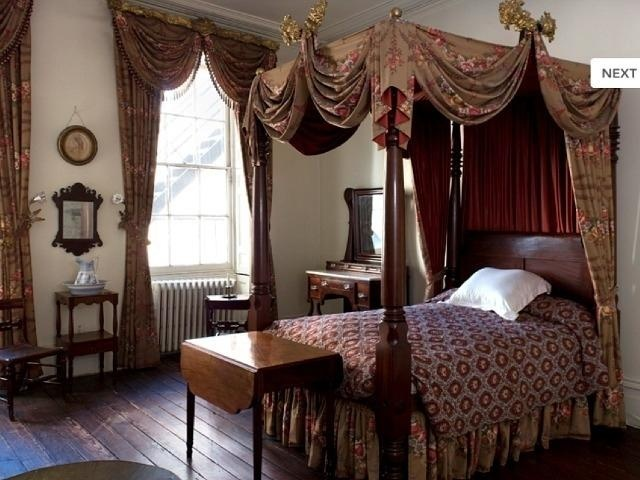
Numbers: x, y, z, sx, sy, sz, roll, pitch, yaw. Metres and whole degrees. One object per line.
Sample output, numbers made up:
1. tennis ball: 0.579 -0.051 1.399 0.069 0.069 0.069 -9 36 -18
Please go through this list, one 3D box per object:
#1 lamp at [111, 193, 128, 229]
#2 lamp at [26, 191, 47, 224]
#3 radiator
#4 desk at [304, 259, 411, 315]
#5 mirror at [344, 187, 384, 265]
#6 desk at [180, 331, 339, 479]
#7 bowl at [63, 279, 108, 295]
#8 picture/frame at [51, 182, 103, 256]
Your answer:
1. lamp: -2.314 -0.322 5.898 0.144 0.414 0.125 -5 10 -26
2. lamp: -3.001 -0.335 5.439 0.125 0.307 0.224 8 13 43
3. radiator: -1.497 0.878 5.889 0.878 0.847 0.156 -4 7 -33
4. desk: 0.349 0.697 6.445 0.438 0.823 1.184 -1 3 -41
5. mirror: 0.580 -0.166 6.551 0.094 0.947 0.923 2 -1 -31
6. desk: -0.473 1.229 3.901 1.207 0.927 0.736 8 13 41
7. bowl: -2.482 0.511 5.438 0.391 0.142 0.260 -6 11 -25
8. picture/frame: -2.712 -0.228 5.656 0.723 1.076 0.042 2 -2 -43
